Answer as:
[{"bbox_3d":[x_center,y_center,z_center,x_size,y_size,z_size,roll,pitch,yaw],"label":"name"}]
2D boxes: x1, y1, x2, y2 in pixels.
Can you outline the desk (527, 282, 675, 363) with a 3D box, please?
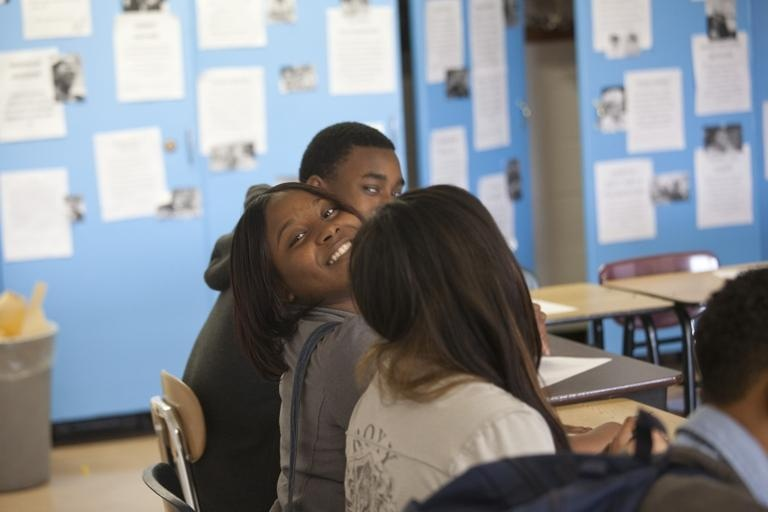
[{"bbox_3d":[0.874,0.196,3.310,0.347,0.221,0.351,-8,22,-20],"label":"desk"}]
